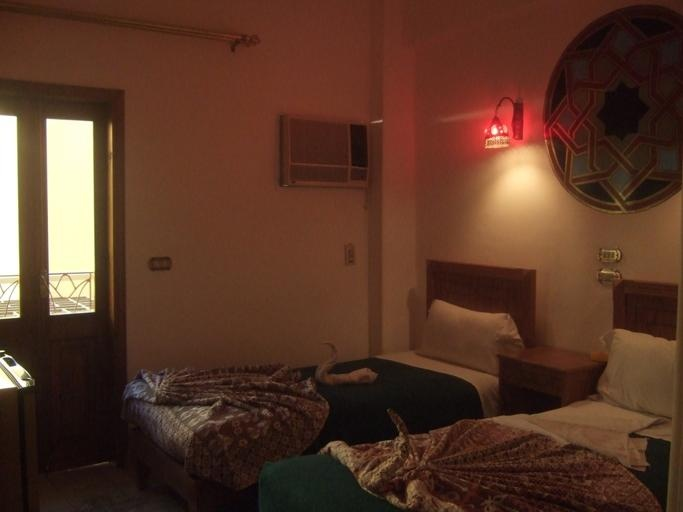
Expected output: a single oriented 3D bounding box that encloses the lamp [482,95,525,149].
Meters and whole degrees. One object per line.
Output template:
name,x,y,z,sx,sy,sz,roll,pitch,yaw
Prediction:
lamp,1.279,-1.067,4.380,0.254,0.461,0.193,1,-10,13
